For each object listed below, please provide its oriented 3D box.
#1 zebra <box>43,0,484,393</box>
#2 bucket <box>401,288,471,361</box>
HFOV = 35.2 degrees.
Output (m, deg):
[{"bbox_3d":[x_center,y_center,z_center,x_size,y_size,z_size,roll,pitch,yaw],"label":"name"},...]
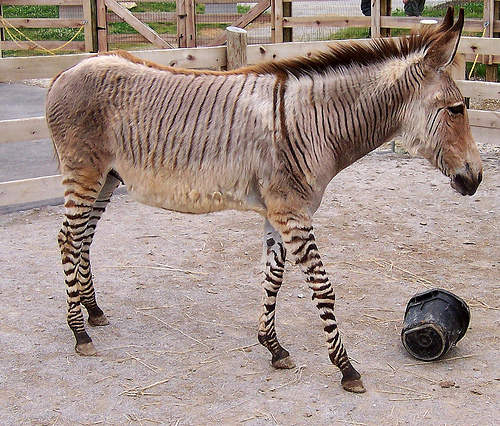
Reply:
[{"bbox_3d":[0.017,-0.189,5.691,3.000,2.485,0.945,2,22,8],"label":"zebra"},{"bbox_3d":[1.396,0.819,6.021,0.520,0.479,0.478,-23,10,4],"label":"bucket"}]
